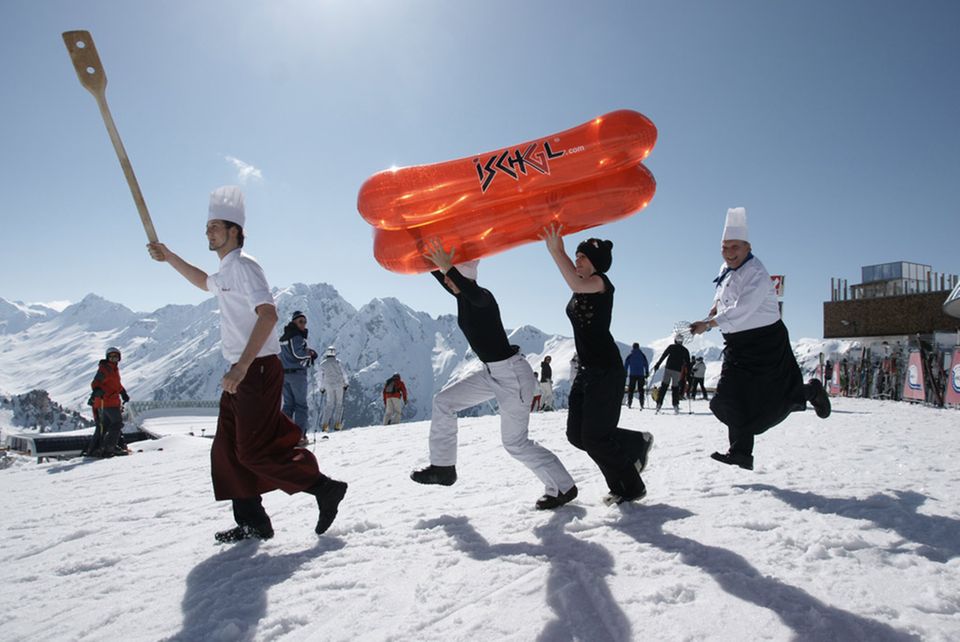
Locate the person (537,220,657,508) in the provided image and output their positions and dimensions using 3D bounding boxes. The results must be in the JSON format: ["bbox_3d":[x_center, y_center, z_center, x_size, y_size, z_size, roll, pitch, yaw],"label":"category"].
[{"bbox_3d":[1.180,0.444,5.049,0.933,2.308,0.739,-4,-2,-8],"label":"person"}]

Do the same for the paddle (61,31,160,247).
[{"bbox_3d":[-3.708,-1.811,5.315,0.322,2.064,0.055,-3,22,12],"label":"paddle"}]

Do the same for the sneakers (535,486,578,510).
[{"bbox_3d":[0.752,1.759,5.138,0.527,0.200,0.170,-8,-14,-5],"label":"sneakers"}]

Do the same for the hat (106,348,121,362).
[{"bbox_3d":[-7.989,0.750,11.219,0.275,0.303,0.325,8,-28,-41],"label":"hat"}]

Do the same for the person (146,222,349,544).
[{"bbox_3d":[-2.218,0.515,4.812,1.343,2.963,0.847,-6,-2,36],"label":"person"}]

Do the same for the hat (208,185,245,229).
[{"bbox_3d":[-2.399,-1.088,4.878,0.284,0.397,0.266,-3,-2,-27],"label":"hat"}]

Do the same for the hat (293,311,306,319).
[{"bbox_3d":[-3.752,-0.122,10.714,0.211,0.048,0.217,18,30,32],"label":"hat"}]

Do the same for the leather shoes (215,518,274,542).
[{"bbox_3d":[-2.124,1.945,4.817,0.574,0.230,0.198,3,-10,1],"label":"leather shoes"}]
